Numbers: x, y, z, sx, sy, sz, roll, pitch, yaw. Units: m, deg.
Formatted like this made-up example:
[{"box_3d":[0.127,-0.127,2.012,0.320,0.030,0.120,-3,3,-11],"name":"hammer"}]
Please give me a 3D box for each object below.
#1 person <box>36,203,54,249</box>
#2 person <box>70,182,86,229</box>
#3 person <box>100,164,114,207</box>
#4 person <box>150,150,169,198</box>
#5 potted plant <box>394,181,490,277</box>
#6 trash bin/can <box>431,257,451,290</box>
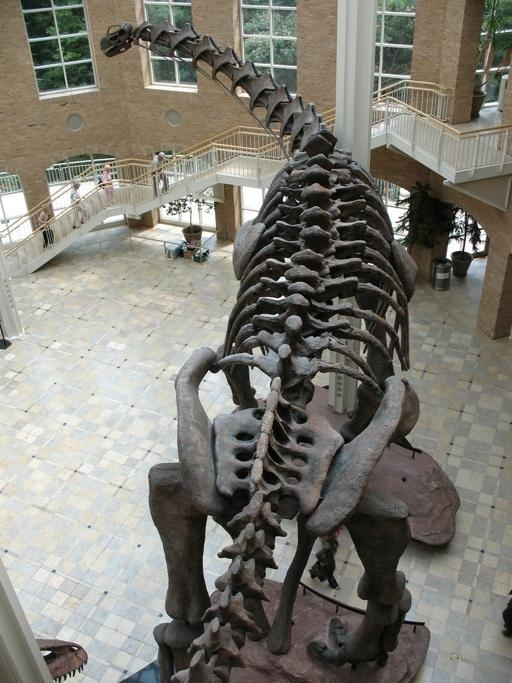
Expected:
[{"box_3d":[-5.328,-2.886,13.754,0.307,0.856,1.150,-12,26,-18],"name":"person"},{"box_3d":[-4.546,-3.444,13.751,0.353,0.990,1.001,-10,26,-15],"name":"person"},{"box_3d":[-3.857,-4.128,14.074,0.275,0.942,1.395,-9,25,-13],"name":"person"},{"box_3d":[-2.450,-4.336,13.909,0.443,0.945,1.624,-6,25,-7],"name":"person"},{"box_3d":[3.975,-2.426,11.863,1.975,2.097,1.072,-12,27,-20],"name":"potted plant"},{"box_3d":[4.016,-1.449,11.704,0.578,0.638,0.404,-8,41,5],"name":"trash bin/can"}]
